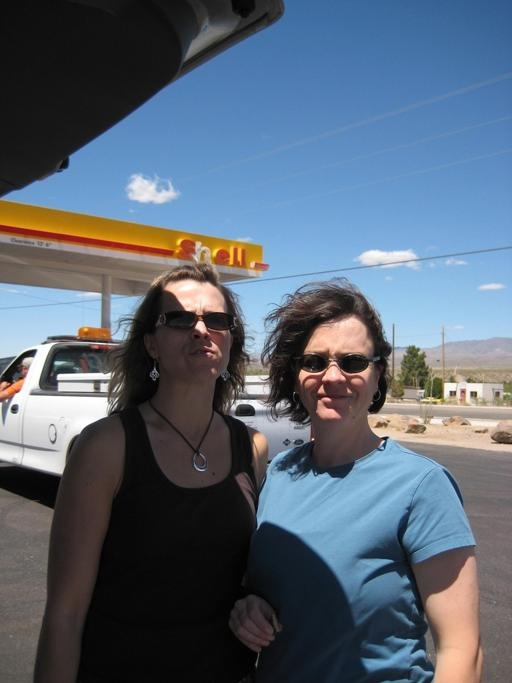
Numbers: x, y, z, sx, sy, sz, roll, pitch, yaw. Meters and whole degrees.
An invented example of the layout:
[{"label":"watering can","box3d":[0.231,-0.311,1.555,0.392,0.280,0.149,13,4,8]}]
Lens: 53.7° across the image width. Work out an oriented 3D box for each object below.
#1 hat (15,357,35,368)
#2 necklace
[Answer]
[{"label":"hat","box3d":[-3.231,0.307,7.126,0.174,0.120,0.242,-9,-14,24]},{"label":"necklace","box3d":[-0.241,0.296,1.580,0.237,0.029,0.266,13,33,-34]}]
